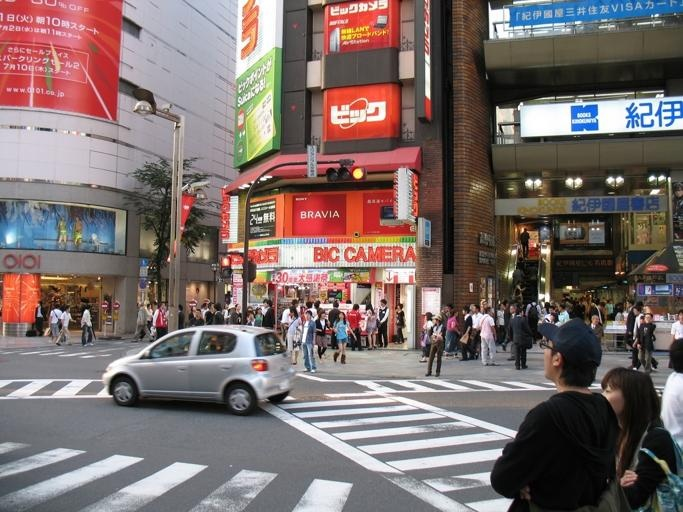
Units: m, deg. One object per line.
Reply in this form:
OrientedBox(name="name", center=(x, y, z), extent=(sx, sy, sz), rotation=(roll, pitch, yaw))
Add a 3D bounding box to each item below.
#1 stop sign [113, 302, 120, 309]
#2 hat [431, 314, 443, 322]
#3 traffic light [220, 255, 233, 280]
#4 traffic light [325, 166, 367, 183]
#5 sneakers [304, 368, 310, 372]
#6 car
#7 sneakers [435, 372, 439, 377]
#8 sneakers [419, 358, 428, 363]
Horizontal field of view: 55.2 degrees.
OrientedBox(name="stop sign", center=(-14.442, 3.180, 41.723), extent=(0.389, 0.503, 0.091), rotation=(7, 15, 28))
OrientedBox(name="hat", center=(2.957, 1.923, 20.196), extent=(0.257, 0.220, 0.223), rotation=(-2, 0, 12))
OrientedBox(name="traffic light", center=(-3.666, 0.348, 20.718), extent=(0.306, 0.722, 0.384), rotation=(0, -2, -19))
OrientedBox(name="traffic light", center=(0.167, -2.471, 20.050), extent=(0.852, 0.326, 0.825), rotation=(1, 4, 22))
OrientedBox(name="sneakers", center=(-1.135, 3.631, 20.855), extent=(0.148, 0.108, 0.361), rotation=(0, -2, -25))
OrientedBox(name="car", center=(-3.016, 2.439, 14.941), extent=(3.284, 1.573, 1.942), rotation=(2, -6, 10))
OrientedBox(name="sneakers", center=(2.913, 3.581, 19.738), extent=(0.069, 0.096, 0.221), rotation=(-3, -19, 12))
OrientedBox(name="sneakers", center=(2.885, 3.676, 23.017), extent=(0.314, 0.144, 0.112), rotation=(-2, -10, 25))
